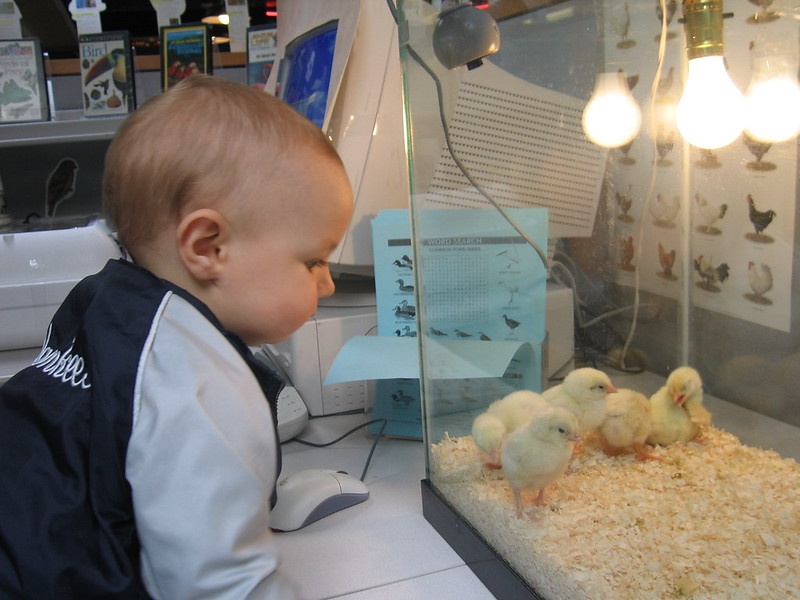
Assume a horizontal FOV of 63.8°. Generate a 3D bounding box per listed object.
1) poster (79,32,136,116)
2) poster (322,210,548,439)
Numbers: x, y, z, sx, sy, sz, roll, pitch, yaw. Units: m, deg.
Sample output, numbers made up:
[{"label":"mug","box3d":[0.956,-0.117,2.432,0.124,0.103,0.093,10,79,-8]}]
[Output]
[{"label":"poster","box3d":[-0.820,-0.634,1.802,0.134,0.250,0.040,-7,-15,-15]},{"label":"poster","box3d":[0.070,0.044,0.935,0.252,0.356,0.163,2,9,19]}]
